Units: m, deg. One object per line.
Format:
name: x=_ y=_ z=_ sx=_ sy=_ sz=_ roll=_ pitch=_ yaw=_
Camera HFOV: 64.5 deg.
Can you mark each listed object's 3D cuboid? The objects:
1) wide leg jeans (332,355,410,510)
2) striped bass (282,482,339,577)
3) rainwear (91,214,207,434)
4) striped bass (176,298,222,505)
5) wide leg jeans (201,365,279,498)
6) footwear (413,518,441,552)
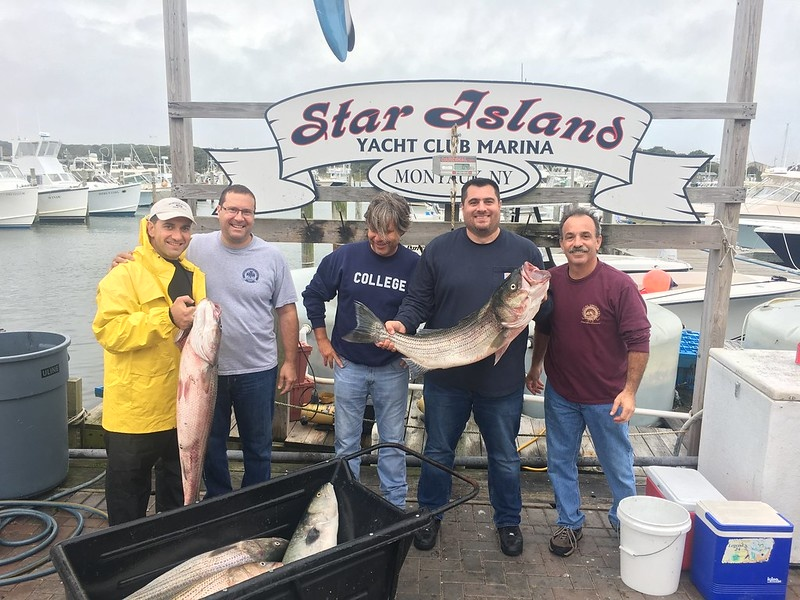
wide leg jeans: x=-0.248 y=1.081 z=5.182 sx=0.609 sy=1.186 sz=0.689 roll=-2 pitch=17 yaw=-15
striped bass: x=-0.581 y=1.460 z=4.153 sx=0.344 sy=0.370 sz=0.429 roll=0 pitch=11 yaw=-3
rainwear: x=-1.822 y=0.117 z=4.592 sx=0.782 sy=1.530 sz=0.916 roll=-7 pitch=22 yaw=-34
striped bass: x=-1.384 y=0.628 z=4.384 sx=0.258 sy=1.492 sz=0.294 roll=14 pitch=11 yaw=26
wide leg jeans: x=-1.300 y=1.079 z=5.137 sx=0.529 sy=1.272 sz=0.358 roll=5 pitch=16 yaw=5
footwear: x=0.233 y=1.802 z=4.855 sx=0.189 sy=0.218 sz=0.547 roll=-1 pitch=-11 yaw=10
